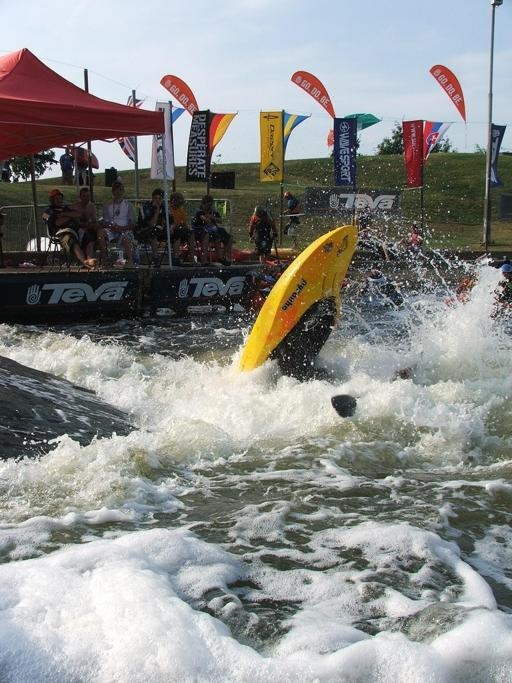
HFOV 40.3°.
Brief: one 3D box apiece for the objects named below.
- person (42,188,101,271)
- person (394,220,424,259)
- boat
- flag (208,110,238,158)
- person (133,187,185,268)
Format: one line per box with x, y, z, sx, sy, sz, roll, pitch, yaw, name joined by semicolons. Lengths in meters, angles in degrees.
-2.843;-1.772;10.831;1.170;1.155;0.569;8;9;24;person
4.709;-3.055;21.362;0.714;1.021;0.971;3;8;-14;person
0.446;-0.415;6.738;0.951;1.493;0.414;-1;11;-36;boat
-0.888;-5.342;17.866;0.550;0.935;1.385;5;8;-4;flag
-1.653;-1.988;11.680;0.702;1.285;2.291;4;8;-10;person
